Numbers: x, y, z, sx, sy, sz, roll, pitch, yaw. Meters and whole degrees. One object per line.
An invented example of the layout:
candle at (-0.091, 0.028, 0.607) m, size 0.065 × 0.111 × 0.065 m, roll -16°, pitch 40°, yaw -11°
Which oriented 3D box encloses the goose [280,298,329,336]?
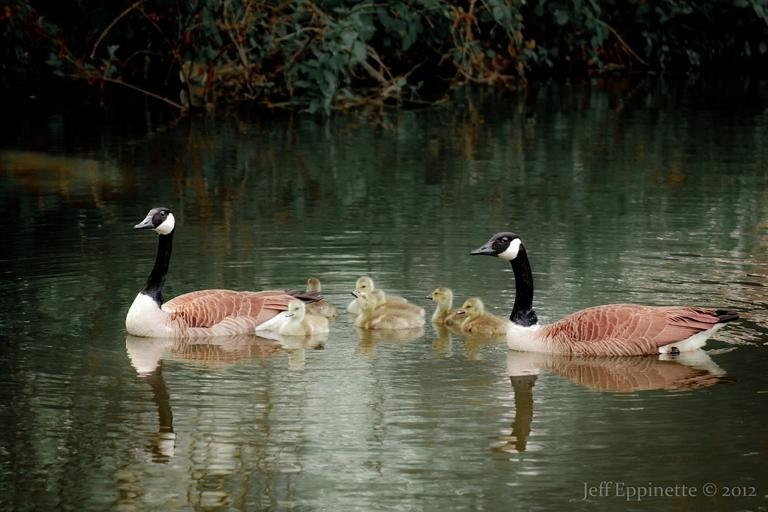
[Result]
goose at (-1.099, 0.772, 12.738) m, size 0.636 × 0.375 × 0.744 m, roll 10°, pitch 5°, yaw 14°

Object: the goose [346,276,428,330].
goose at (-0.064, 0.677, 12.935) m, size 1.235 × 0.479 × 0.595 m, roll 1°, pitch -3°, yaw -19°
